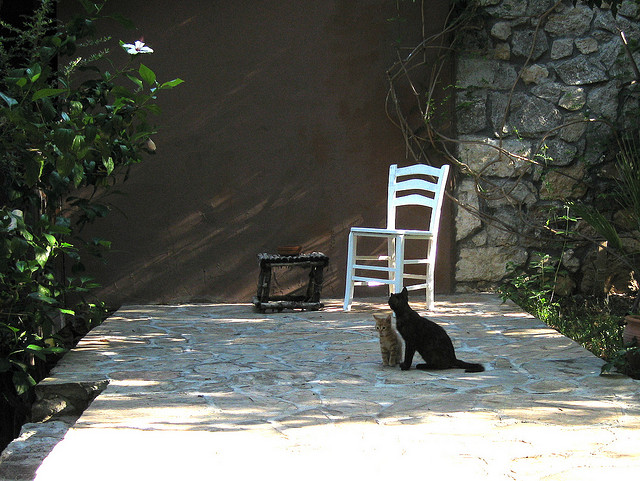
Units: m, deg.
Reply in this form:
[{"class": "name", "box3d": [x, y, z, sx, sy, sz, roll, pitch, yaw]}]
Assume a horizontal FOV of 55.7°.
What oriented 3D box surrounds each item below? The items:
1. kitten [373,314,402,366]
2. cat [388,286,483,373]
[{"class": "kitten", "box3d": [0.436, 0.641, 3.844, 0.152, 0.293, 0.351, -9, -14, 21]}, {"class": "cat", "box3d": [0.700, 0.577, 3.721, 0.725, 0.431, 0.203, 8, 10, 33]}]
